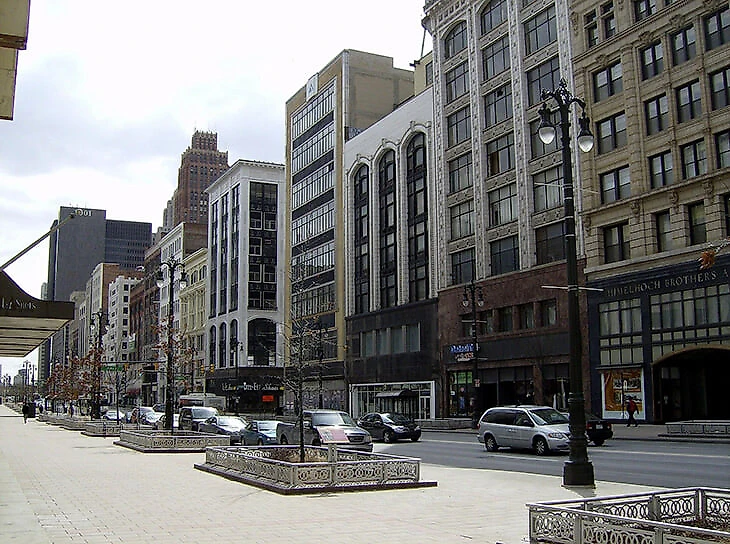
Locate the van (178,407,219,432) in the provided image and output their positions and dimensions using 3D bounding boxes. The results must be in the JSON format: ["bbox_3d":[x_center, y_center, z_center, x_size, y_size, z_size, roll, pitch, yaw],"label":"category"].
[{"bbox_3d":[-10.151,8.781,48.311,1.329,1.258,2.384,9,-23,-30],"label":"van"}]

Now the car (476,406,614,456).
[{"bbox_3d":[6.956,6.714,35.416,2.782,1.969,5.299,6,-17,-31],"label":"car"}]

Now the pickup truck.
[{"bbox_3d":[-2.022,7.500,37.268,2.903,2.262,6.097,6,-11,-27],"label":"pickup truck"}]
